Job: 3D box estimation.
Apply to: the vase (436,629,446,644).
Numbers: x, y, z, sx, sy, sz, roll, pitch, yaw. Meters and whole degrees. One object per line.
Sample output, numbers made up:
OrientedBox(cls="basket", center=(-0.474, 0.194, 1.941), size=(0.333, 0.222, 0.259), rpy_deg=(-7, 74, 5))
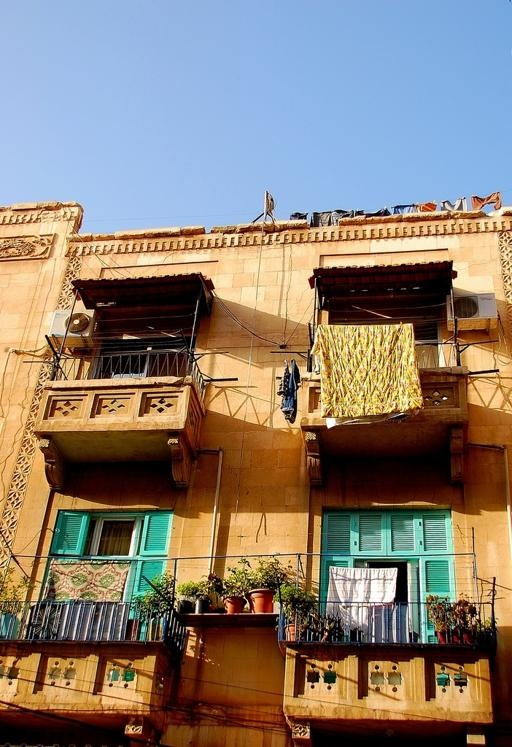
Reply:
OrientedBox(cls="vase", center=(2.523, 3.610, 7.600), size=(0.098, 0.150, 0.349), rpy_deg=(0, -27, 9))

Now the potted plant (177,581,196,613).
OrientedBox(cls="potted plant", center=(-1.166, 3.799, 9.388), size=(0.408, 0.457, 0.238), rpy_deg=(-19, -35, 39))

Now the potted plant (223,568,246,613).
OrientedBox(cls="potted plant", center=(-0.383, 3.609, 9.200), size=(0.411, 0.764, 0.561), rpy_deg=(0, -27, 10))

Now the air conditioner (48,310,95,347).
OrientedBox(cls="air conditioner", center=(-4.467, -1.166, 13.651), size=(1.015, 0.951, 0.780), rpy_deg=(18, -29, -24))

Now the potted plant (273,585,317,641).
OrientedBox(cls="potted plant", center=(0.545, 3.620, 8.412), size=(0.629, 0.881, 0.725), rpy_deg=(8, -26, -6))

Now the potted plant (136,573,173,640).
OrientedBox(cls="potted plant", center=(-1.620, 3.707, 8.899), size=(0.592, 1.021, 1.333), rpy_deg=(8, -27, -6))

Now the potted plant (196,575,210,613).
OrientedBox(cls="potted plant", center=(-0.884, 3.734, 9.273), size=(0.258, 0.540, 0.345), rpy_deg=(7, -27, -4))

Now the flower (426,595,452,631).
OrientedBox(cls="flower", center=(2.539, 3.351, 7.750), size=(0.293, 0.473, 0.421), rpy_deg=(5, -27, 0))

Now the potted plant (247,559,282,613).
OrientedBox(cls="potted plant", center=(0.141, 3.540, 9.229), size=(0.550, 0.935, 0.793), rpy_deg=(-1, -27, 12))

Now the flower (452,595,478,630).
OrientedBox(cls="flower", center=(2.905, 3.308, 7.564), size=(0.416, 0.372, 0.240), rpy_deg=(18, -29, -24))
